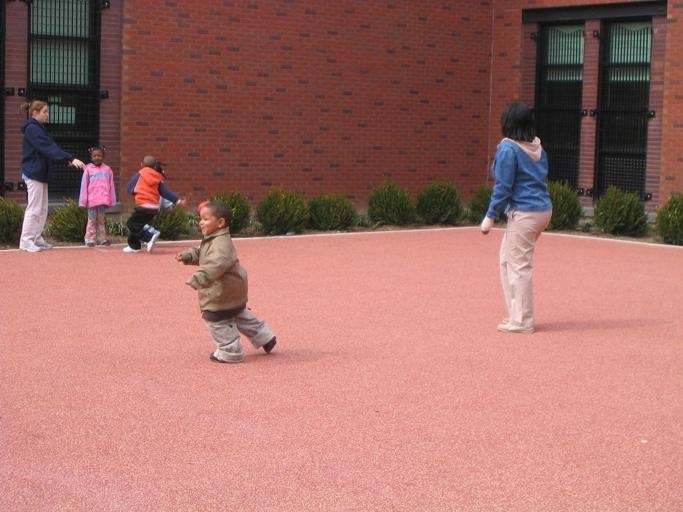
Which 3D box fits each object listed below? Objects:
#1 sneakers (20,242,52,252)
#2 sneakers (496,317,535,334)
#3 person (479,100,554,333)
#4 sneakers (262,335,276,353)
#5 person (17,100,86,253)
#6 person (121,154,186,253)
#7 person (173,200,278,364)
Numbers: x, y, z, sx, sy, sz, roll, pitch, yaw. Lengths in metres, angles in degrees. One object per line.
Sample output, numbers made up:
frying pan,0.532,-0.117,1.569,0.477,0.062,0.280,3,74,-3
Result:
sneakers,-5.230,-0.168,11.924,0.466,0.238,0.175,-3,5,-17
sneakers,1.816,0.690,7.243,0.364,0.186,0.156,6,5,25
person,1.835,-0.409,7.282,0.712,2.364,0.571,1,7,2
sneakers,-0.651,0.818,6.321,0.084,0.225,0.081,12,-14,5
person,-5.124,-1.374,11.947,0.843,2.534,0.654,-4,8,-28
person,-3.348,-0.887,12.007,0.914,1.643,0.557,0,7,-7
person,-1.032,0.243,5.967,0.453,1.403,0.931,5,9,33
